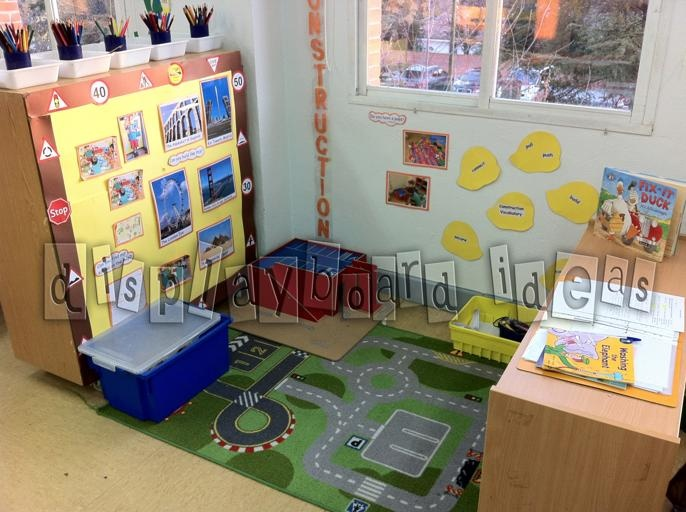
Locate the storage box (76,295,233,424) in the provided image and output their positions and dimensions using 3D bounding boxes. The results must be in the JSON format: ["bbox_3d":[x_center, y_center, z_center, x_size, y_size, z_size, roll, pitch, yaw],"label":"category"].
[{"bbox_3d":[-0.941,0.545,2.612,0.484,0.353,0.627,12,26,27],"label":"storage box"}]
